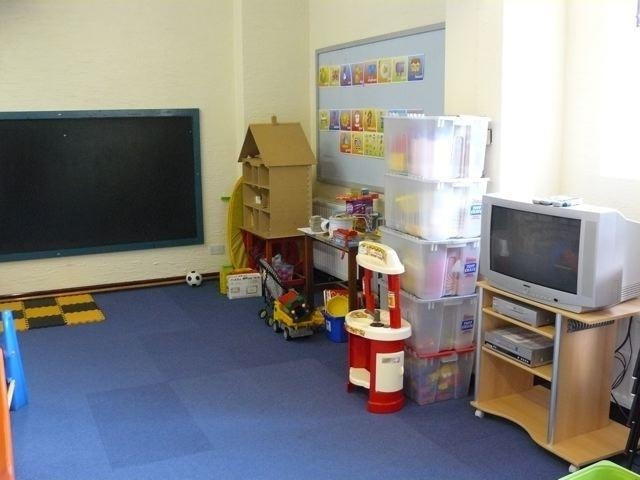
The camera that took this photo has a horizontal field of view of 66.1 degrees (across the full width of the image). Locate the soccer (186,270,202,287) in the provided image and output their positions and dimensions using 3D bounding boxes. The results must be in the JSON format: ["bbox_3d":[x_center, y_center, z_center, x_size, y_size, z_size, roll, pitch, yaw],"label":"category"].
[{"bbox_3d":[-1.493,0.445,5.826,0.163,0.192,0.170,2,4,9],"label":"soccer"}]

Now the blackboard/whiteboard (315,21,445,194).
[{"bbox_3d":[0.523,-1.258,5.057,0.025,1.357,1.812,-9,16,-35],"label":"blackboard/whiteboard"}]

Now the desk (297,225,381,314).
[{"bbox_3d":[0.224,0.270,5.049,0.827,0.809,0.675,-2,5,-6],"label":"desk"}]
